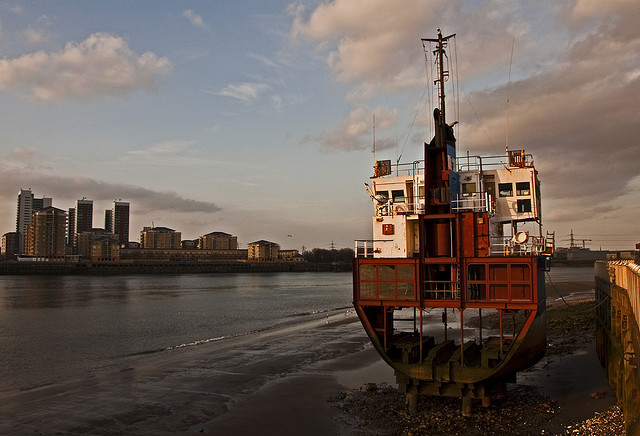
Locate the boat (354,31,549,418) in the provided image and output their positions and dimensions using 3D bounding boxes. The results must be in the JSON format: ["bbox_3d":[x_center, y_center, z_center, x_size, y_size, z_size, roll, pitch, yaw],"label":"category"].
[{"bbox_3d":[9.292,0.090,42.956,13.177,26.352,8.217,-2,-6,11],"label":"boat"}]
